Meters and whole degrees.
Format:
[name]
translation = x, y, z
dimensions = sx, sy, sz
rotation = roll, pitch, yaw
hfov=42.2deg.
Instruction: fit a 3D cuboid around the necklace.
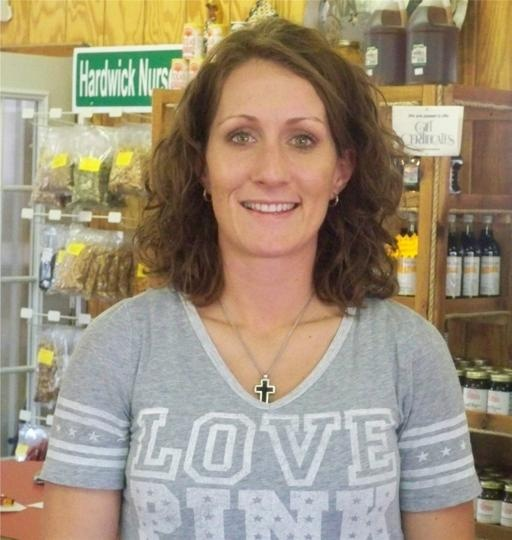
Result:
[necklace]
translation = 0.012, 0.149, 1.168
dimensions = 0.229, 0.276, 0.025
rotation = 2, -38, -1
